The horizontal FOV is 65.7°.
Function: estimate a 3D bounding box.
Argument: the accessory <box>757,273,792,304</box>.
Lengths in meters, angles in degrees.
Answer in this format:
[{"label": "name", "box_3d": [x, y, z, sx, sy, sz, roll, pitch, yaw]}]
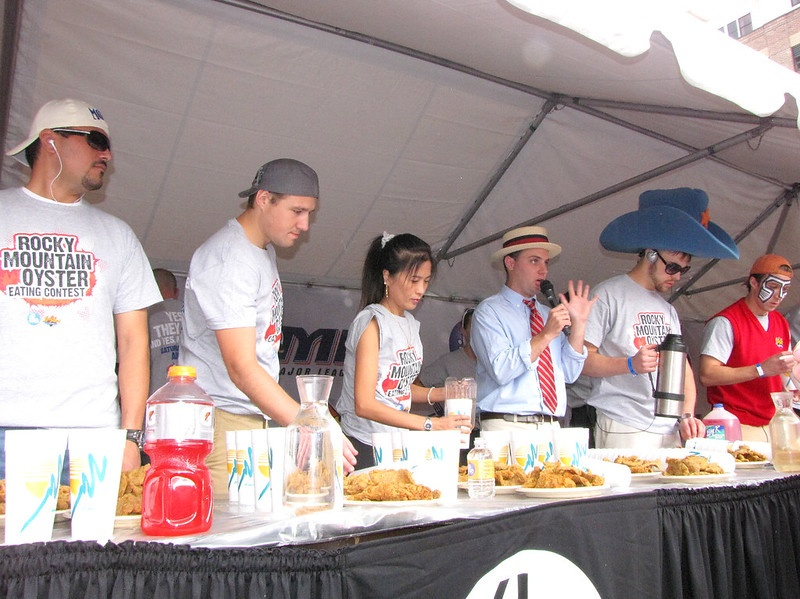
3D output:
[{"label": "accessory", "box_3d": [2.584, -0.052, 4.265, 0.159, 0.145, 0.206, 20, -39, 8]}]

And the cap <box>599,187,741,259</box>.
[{"label": "cap", "box_3d": [1.765, -0.523, 4.029, 0.877, 0.382, 0.704, 9, 14, 32]}]

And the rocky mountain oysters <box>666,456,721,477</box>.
[{"label": "rocky mountain oysters", "box_3d": [1.106, 0.617, 2.310, 0.117, 0.035, 0.114, 4, -9, -35]}]

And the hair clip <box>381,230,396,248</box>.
[{"label": "hair clip", "box_3d": [-0.064, -0.322, 3.332, 0.094, 0.039, 0.102, -22, 5, -4]}]

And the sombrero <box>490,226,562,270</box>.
[{"label": "sombrero", "box_3d": [0.804, -0.341, 3.806, 0.427, 0.123, 0.374, -5, -11, 22]}]

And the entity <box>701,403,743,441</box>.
[{"label": "entity", "box_3d": [1.821, 0.687, 3.533, 0.183, 0.253, 0.153, -6, 25, 17]}]

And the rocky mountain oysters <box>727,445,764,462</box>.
[{"label": "rocky mountain oysters", "box_3d": [1.552, 0.682, 2.733, 0.097, 0.030, 0.094, -1, -4, 13]}]

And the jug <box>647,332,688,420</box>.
[{"label": "jug", "box_3d": [1.366, 0.382, 3.083, 0.140, 0.392, 0.183, 4, -2, 29]}]

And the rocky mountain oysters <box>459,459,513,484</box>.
[{"label": "rocky mountain oysters", "box_3d": [0.282, 0.555, 1.999, 0.138, 0.039, 0.132, -2, 0, 3]}]

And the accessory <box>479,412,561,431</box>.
[{"label": "accessory", "box_3d": [0.627, 0.621, 3.241, 0.399, 0.097, 0.178, -4, -14, 6]}]

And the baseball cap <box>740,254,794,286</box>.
[{"label": "baseball cap", "box_3d": [2.610, -0.224, 4.375, 0.225, 0.168, 0.292, 5, -11, -2]}]

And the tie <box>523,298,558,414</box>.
[{"label": "tie", "box_3d": [0.784, 0.276, 3.434, 0.098, 0.631, 0.073, 8, -27, -29]}]

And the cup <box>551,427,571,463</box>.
[{"label": "cup", "box_3d": [0.568, 0.521, 2.123, 0.073, 0.139, 0.046, 11, -21, -15]}]

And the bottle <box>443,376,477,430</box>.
[{"label": "bottle", "box_3d": [0.257, 0.440, 2.548, 0.157, 0.215, 0.149, 2, -16, 1]}]

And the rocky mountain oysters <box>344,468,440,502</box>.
[{"label": "rocky mountain oysters", "box_3d": [-0.021, 0.500, 1.770, 0.189, 0.085, 0.209, -1, -6, -26]}]
